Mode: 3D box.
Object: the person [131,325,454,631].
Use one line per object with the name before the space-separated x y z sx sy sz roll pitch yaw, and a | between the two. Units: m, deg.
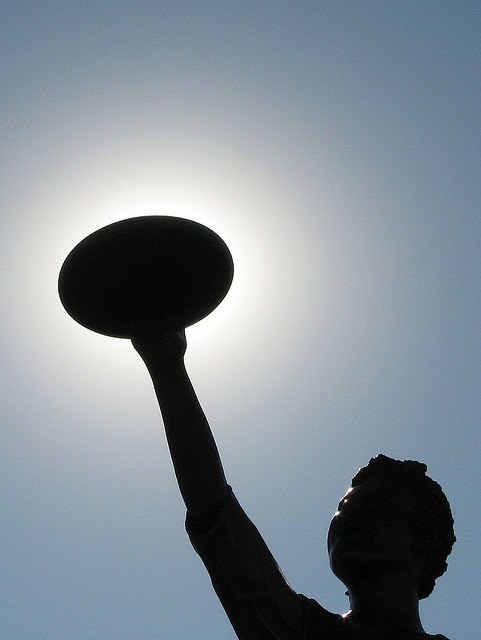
person | 0.261 0.827 4.979 1.816 1.323 0.406 17 -37 -40
